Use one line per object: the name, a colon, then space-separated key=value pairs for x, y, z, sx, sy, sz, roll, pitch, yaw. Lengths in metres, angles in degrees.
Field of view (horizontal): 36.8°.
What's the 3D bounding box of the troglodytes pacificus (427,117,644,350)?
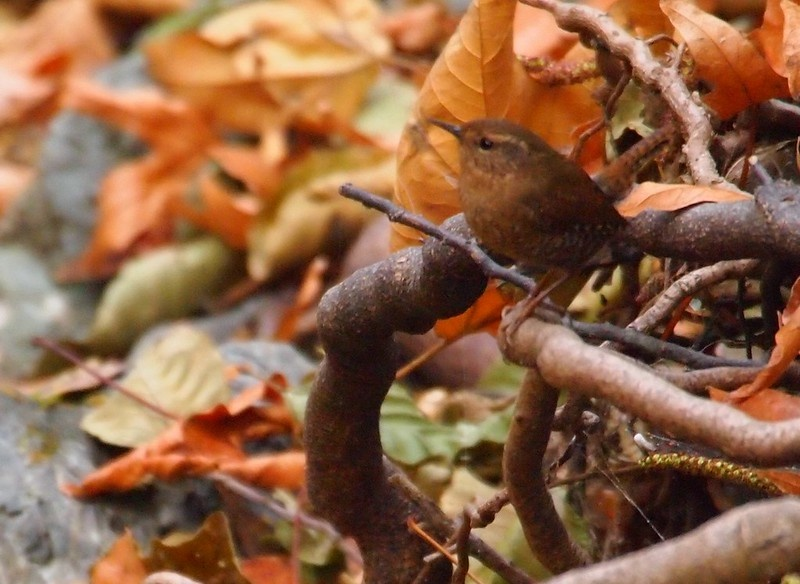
troglodytes pacificus: x=0.096 y=-0.082 z=1.005 sx=0.181 sy=0.054 sz=0.090 roll=32 pitch=82 yaw=11
